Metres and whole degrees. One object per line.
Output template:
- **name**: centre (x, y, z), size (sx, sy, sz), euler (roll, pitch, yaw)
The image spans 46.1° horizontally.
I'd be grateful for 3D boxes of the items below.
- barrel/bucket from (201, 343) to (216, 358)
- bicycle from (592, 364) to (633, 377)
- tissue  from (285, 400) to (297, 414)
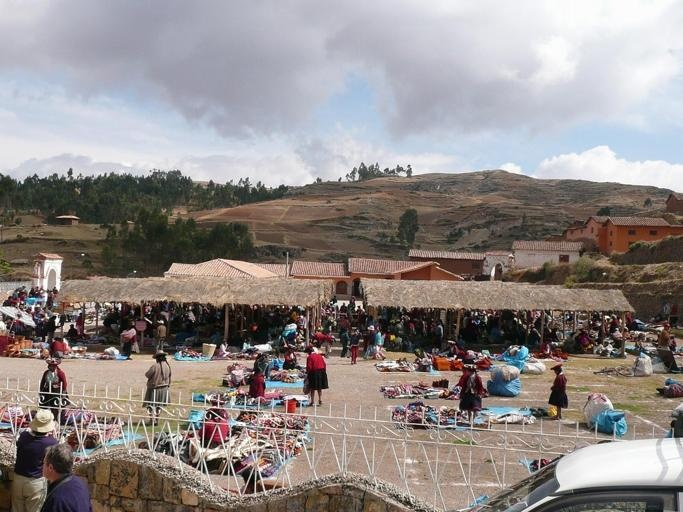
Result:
- **barrel/bucket**: centre (-5.654, 3.973, 33.851), size (0.589, 0.622, 0.485), euler (4, 6, 12)
- **bicycle**: centre (10.583, 4.487, 31.067), size (1.403, 0.309, 1.089), euler (1, -5, 20)
- **tissue **: centre (-1.377, 4.219, 22.493), size (0.481, 0.373, 0.492), euler (1, -5, -18)
